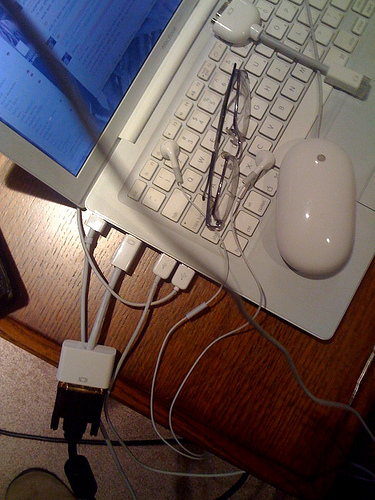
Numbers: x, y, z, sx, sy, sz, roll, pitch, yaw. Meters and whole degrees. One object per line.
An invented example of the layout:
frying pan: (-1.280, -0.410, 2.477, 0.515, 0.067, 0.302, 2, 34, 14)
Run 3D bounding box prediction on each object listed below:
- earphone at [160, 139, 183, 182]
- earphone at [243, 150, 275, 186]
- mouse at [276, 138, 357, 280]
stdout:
earphone: (-0.019, -0.111, 0.488, 0.018, 0.022, 0.055, -17, 83, -1)
earphone: (0.090, -0.105, 0.528, 0.022, 0.022, 0.053, 19, 62, 39)
mouse: (0.145, -0.052, 0.463, 0.078, 0.039, 0.165, 3, 88, 8)
